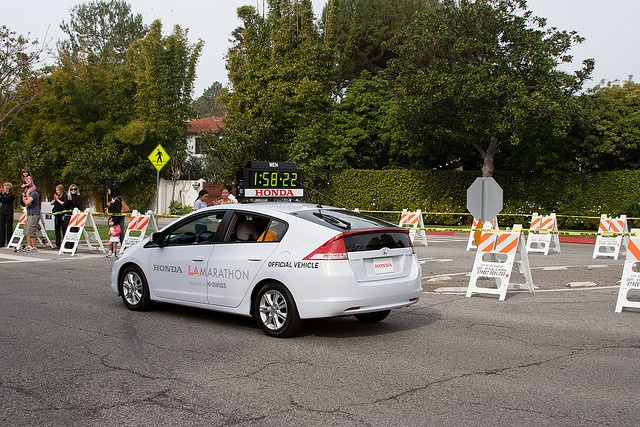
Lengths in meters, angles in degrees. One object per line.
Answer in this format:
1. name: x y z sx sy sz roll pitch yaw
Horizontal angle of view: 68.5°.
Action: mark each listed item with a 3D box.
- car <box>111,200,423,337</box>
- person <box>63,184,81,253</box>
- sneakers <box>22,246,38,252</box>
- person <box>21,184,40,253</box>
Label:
1. car: -0.925 0.811 7.937 4.119 1.479 2.266 3 2 34
2. person: -9.298 0.123 17.571 0.591 2.359 1.251 -1 4 -29
3. sneakers: -10.518 1.289 17.096 0.560 0.247 0.193 0 5 17
4. person: -10.594 0.106 17.229 0.515 2.564 0.940 -2 4 -32
